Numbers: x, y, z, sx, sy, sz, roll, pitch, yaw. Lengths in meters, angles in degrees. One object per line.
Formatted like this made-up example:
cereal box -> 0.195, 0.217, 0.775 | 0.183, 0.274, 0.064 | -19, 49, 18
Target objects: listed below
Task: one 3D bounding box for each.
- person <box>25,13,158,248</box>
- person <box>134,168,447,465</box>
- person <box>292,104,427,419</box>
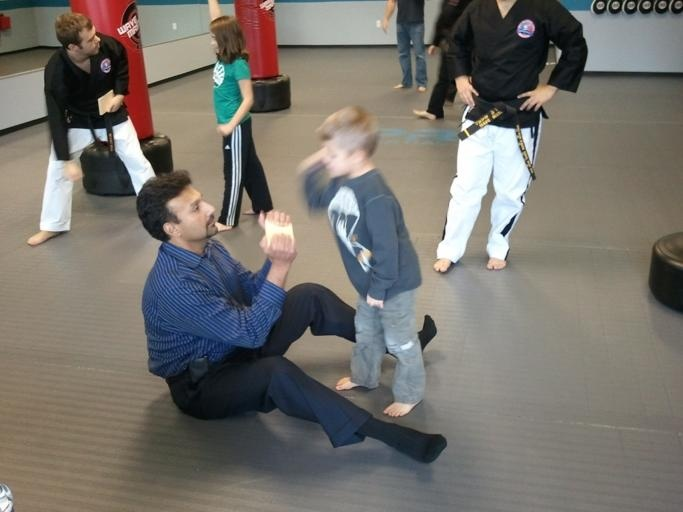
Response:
person -> -1.939, -1.009, 4.319 | 1.096, 1.879, 0.726 | -11, 49, -27
person -> -0.218, 0.165, 2.629 | 1.343, 1.102, 0.960 | 2, 21, 15
person -> 0.099, 0.032, 2.571 | 0.544, 1.344, 0.422 | 7, 19, 30
